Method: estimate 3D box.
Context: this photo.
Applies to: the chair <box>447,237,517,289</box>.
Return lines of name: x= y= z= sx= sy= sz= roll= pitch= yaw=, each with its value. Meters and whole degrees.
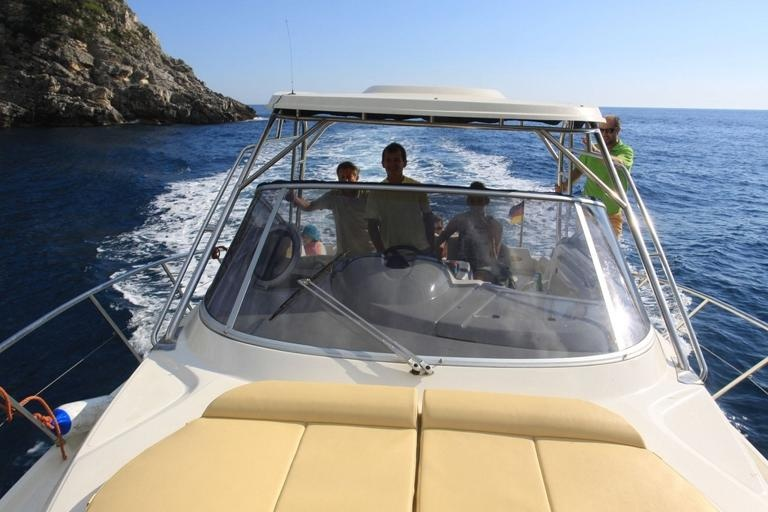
chair: x=0.473 y=0.023 z=2.206 sx=0.355 sy=0.286 sz=0.210 roll=-2 pitch=16 yaw=9
